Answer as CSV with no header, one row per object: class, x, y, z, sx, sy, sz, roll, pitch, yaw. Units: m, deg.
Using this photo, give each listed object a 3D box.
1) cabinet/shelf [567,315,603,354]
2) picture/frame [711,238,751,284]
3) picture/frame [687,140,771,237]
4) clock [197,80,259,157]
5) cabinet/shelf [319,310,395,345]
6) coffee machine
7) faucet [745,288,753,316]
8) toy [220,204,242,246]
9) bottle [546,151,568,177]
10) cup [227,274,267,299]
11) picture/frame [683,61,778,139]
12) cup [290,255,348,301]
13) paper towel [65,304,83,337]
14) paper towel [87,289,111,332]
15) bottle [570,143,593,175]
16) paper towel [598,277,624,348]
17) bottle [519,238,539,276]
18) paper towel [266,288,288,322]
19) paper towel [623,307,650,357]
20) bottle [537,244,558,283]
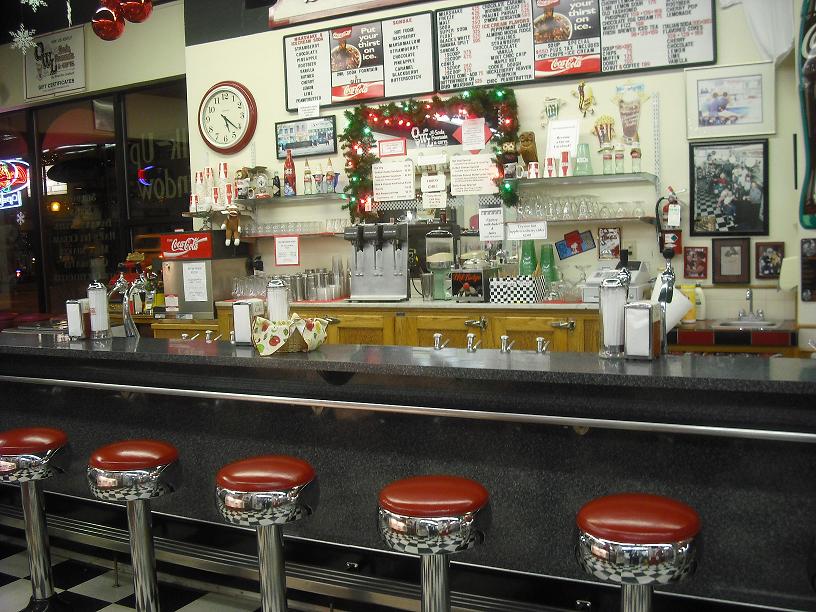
cabinet/shelf,1.305,0.238,5.006,0.157,0.292,0.216,-3,3,36
picture/frame,2.495,-0.351,5.158,0.338,0.461,0.044,1,0,19
picture/frame,2.477,-0.917,5.129,0.726,0.973,0.061,1,2,21
clock,-1.765,-1.860,6.621,0.775,0.799,0.120,-1,2,32
cabinet/shelf,-0.391,0.184,5.559,0.446,0.458,0.301,-1,-4,13
coffee machine,-0.042,-0.359,5.827,0.932,0.694,0.574,-1,-4,4
faucet,2.561,-0.036,5.025,0.056,0.194,0.234,1,10,26
toy,-1.670,-0.748,6.285,0.163,0.389,0.274,-6,9,-17
bottle,1.196,-1.124,5.350,0.228,0.227,0.136,3,4,32
cup,-1.465,-0.176,6.111,0.335,0.206,0.237,-3,9,2
picture/frame,2.465,-1.569,5.066,0.606,0.521,0.066,1,2,18
cup,-0.801,-0.218,6.116,0.449,0.338,0.309,1,4,19
paper towel,-1.962,0.082,3.937,0.102,0.213,0.024,-1,9,16
paper towel,-1.855,0.038,3.992,0.126,0.304,0.128,-4,3,-28
bottle,1.404,-1.190,5.423,0.135,0.248,0.125,-3,9,0
paper towel,0.911,0.037,2.974,0.109,0.318,0.083,-1,9,13
bottle,0.994,-0.406,5.555,0.130,0.271,0.247,-1,9,17
paper towel,-0.678,-0.006,3.449,0.091,0.164,0.060,-3,8,0
paper towel,0.990,0.112,2.890,0.107,0.226,0.060,0,9,23
bottle,1.148,-0.344,5.535,0.137,0.315,0.150,-3,8,0
